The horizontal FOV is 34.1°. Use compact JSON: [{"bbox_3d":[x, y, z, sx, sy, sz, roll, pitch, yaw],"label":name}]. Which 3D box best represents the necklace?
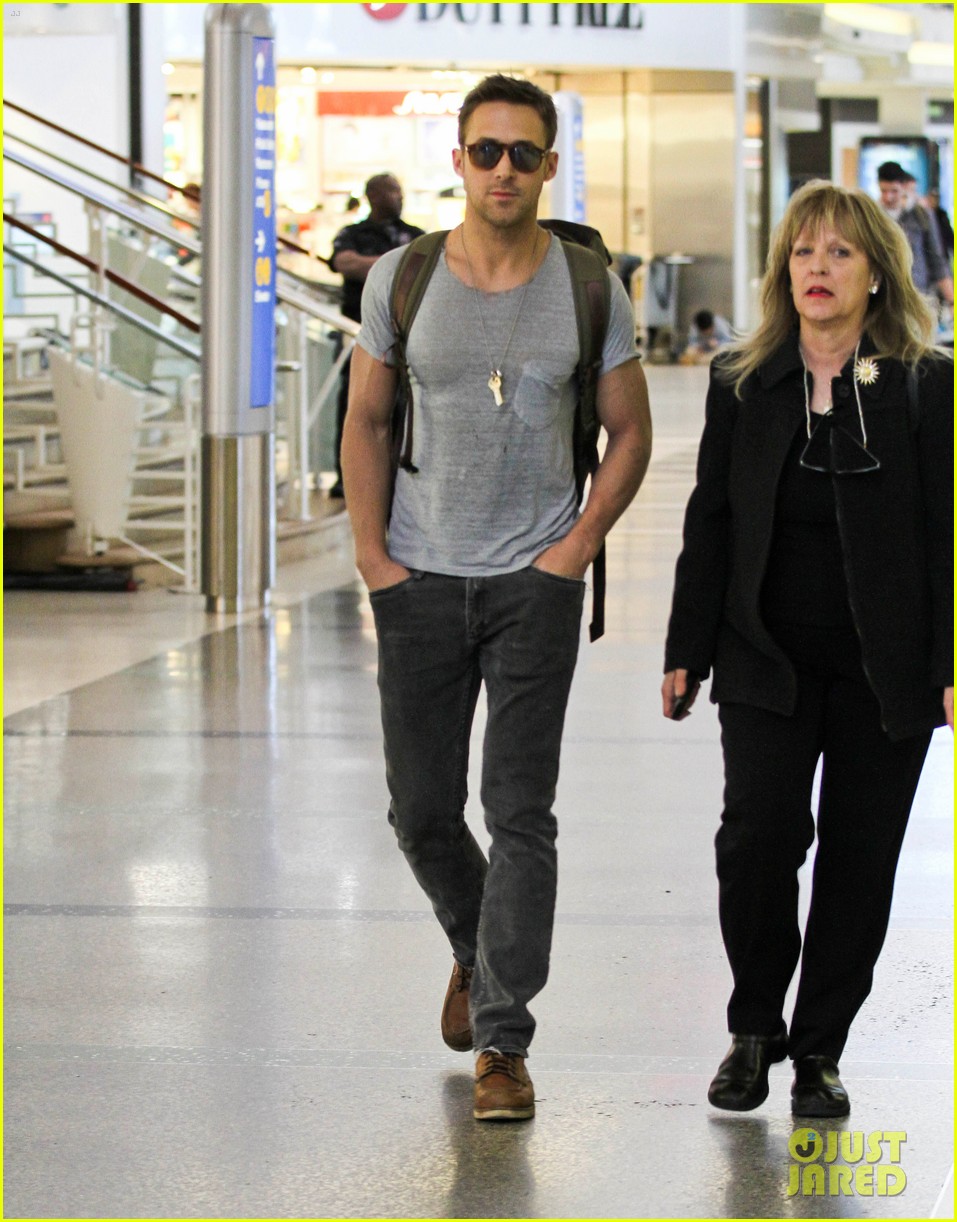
[{"bbox_3d":[0.038,-0.475,2.605,0.118,0.310,0.025,3,-12,4],"label":"necklace"}]

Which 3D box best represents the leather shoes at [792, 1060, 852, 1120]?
[{"bbox_3d":[0.558,0.768,2.513,0.068,0.065,0.114,4,11,12],"label":"leather shoes"}]

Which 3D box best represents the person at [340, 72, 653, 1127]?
[{"bbox_3d":[0.015,-0.044,2.621,0.547,1.736,0.468,1,6,4],"label":"person"}]

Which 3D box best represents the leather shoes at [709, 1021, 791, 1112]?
[{"bbox_3d":[0.454,0.745,2.565,0.073,0.073,0.187,3,8,24],"label":"leather shoes"}]

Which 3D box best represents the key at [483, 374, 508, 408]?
[{"bbox_3d":[0.030,-0.365,2.590,0.032,0.060,0.019,0,6,2],"label":"key"}]

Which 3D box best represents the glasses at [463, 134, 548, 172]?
[{"bbox_3d":[0.050,-0.760,2.612,0.099,0.031,0.086,1,-4,-4],"label":"glasses"}]

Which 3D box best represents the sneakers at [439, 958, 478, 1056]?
[{"bbox_3d":[-0.034,0.722,2.842,0.066,0.152,0.068,-1,-3,5],"label":"sneakers"}]

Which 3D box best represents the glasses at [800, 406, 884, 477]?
[{"bbox_3d":[0.567,-0.266,2.455,0.131,0.092,0.036,3,3,34],"label":"glasses"}]
